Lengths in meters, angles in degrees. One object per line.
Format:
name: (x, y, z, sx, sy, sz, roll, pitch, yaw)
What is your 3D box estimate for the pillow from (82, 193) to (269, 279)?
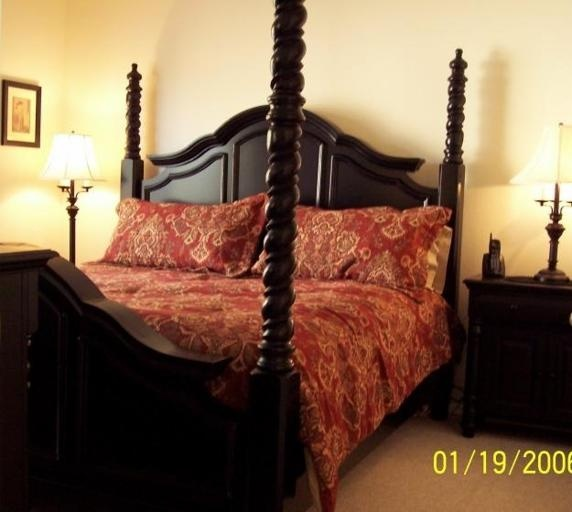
pillow: (-0.622, -0.150, 3.126, 0.992, 0.467, 0.419, 3, 4, 23)

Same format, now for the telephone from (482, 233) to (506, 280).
telephone: (1.185, -0.001, 2.798, 0.106, 0.241, 0.217, 4, 5, 45)

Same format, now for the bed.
bed: (-0.134, -0.115, 2.387, 2.329, 2.335, 0.936, 3, 4, 29)
